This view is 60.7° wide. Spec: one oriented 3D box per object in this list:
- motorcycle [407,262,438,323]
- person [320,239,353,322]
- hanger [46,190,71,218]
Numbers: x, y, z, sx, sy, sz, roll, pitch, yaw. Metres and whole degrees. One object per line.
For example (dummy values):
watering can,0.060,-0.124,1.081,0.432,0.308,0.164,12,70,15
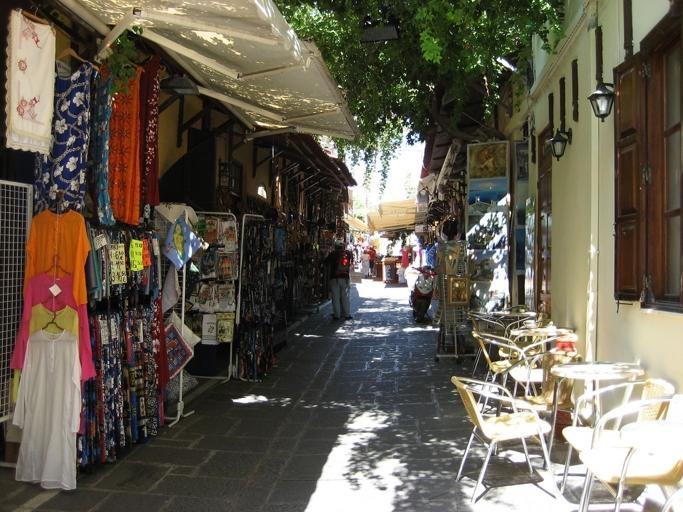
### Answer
motorcycle,1.986,0.926,14.289,0.617,1.351,0.620,4,5,16
person,-0.099,0.591,15.121,0.554,2.027,0.949,0,1,-8
hanger,-2.481,-0.454,5.123,0.196,0.258,0.032,0,-2,3
